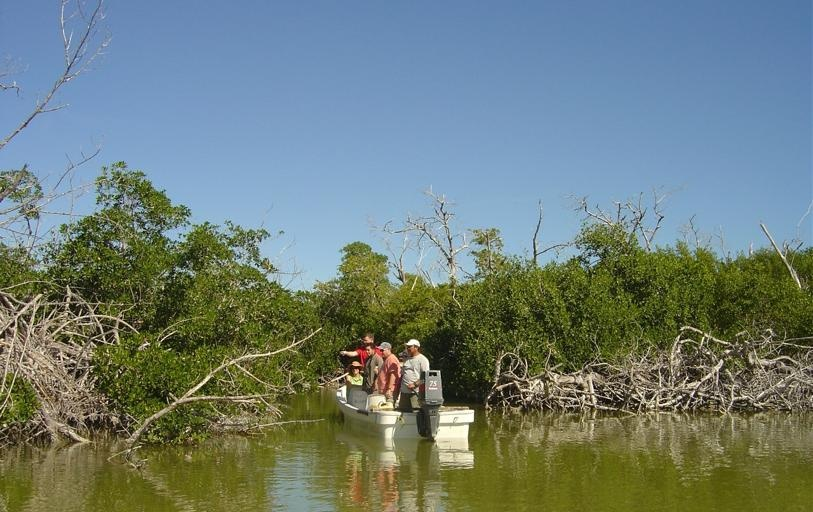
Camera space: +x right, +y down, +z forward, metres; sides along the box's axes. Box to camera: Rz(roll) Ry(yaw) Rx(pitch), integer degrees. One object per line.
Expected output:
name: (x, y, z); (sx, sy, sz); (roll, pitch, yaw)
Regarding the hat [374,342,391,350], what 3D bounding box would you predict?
hat: (-0.807, 3.291, 28.741); (0.504, 0.270, 0.389); (11, -12, -11)
